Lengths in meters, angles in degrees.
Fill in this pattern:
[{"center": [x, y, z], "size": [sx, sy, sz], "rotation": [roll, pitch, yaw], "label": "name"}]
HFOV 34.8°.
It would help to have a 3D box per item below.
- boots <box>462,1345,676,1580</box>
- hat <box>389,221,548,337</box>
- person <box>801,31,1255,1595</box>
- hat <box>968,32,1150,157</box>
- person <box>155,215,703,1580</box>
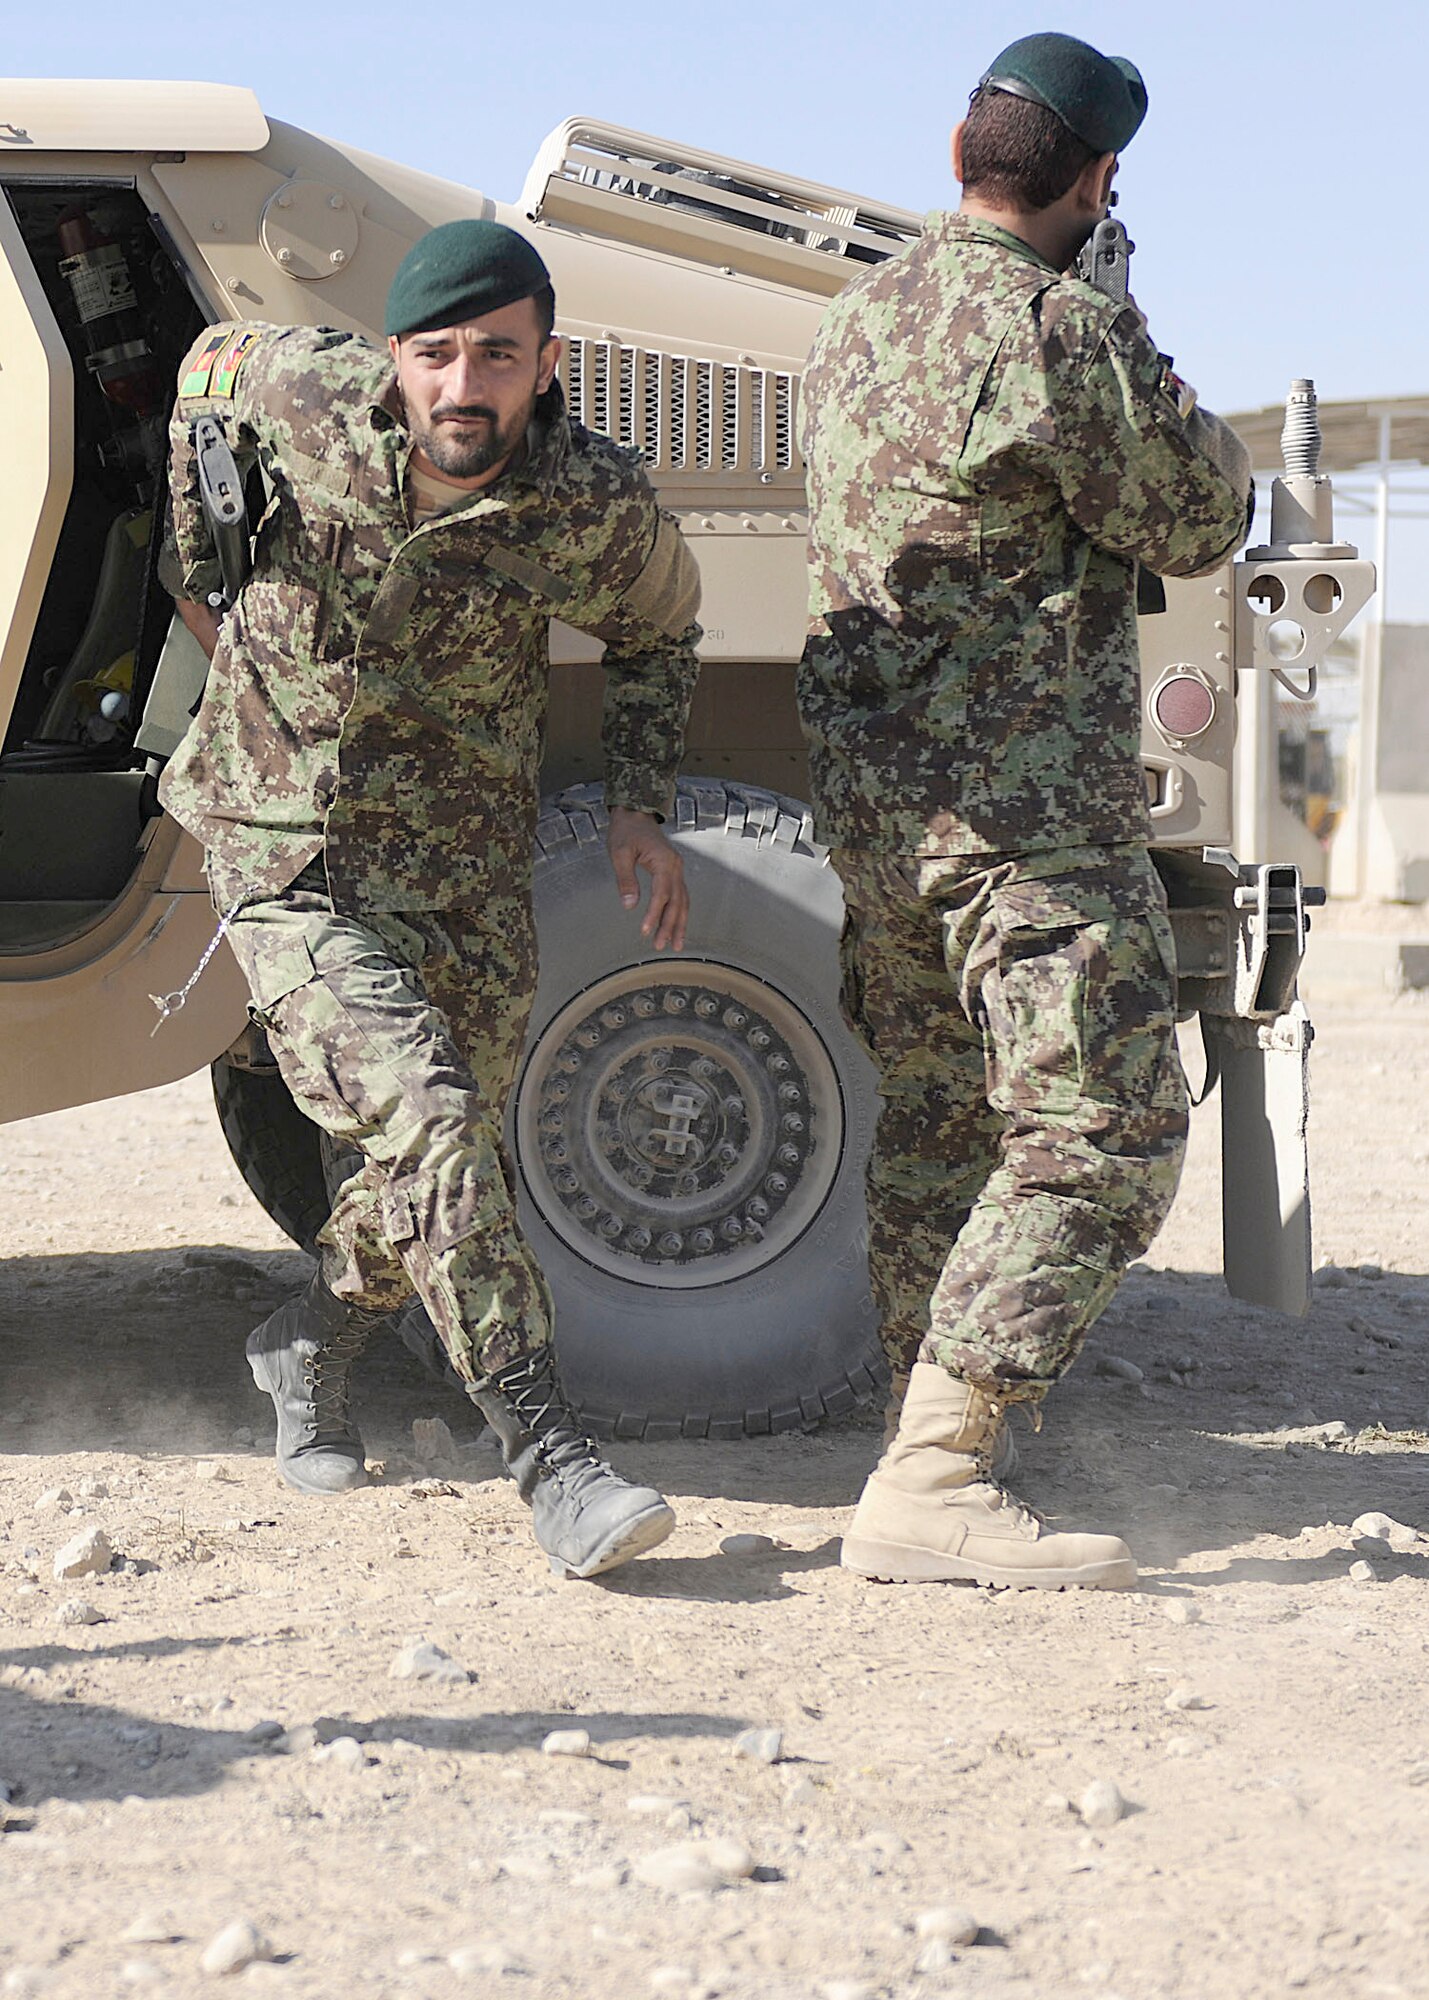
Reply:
[{"center": [-0.182, 0.556, 2.774], "size": [0.141, 0.264, 0.307], "rotation": [-20, -2, -23], "label": "boots"}, {"center": [-0.282, -0.830, 2.600], "size": [0.124, 0.146, 0.167], "rotation": [8, 13, 42], "label": "hat"}, {"center": [0.299, -0.120, 2.875], "size": [0.476, 1.680, 0.546], "rotation": [-10, 14, -37], "label": "person"}, {"center": [0.409, -1.078, 2.710], "size": [0.198, 0.130, 0.124], "rotation": [0, 10, 5], "label": "hat"}, {"center": [-0.360, -0.106, 2.825], "size": [0.689, 1.645, 0.648], "rotation": [-2, 11, -1], "label": "person"}]
